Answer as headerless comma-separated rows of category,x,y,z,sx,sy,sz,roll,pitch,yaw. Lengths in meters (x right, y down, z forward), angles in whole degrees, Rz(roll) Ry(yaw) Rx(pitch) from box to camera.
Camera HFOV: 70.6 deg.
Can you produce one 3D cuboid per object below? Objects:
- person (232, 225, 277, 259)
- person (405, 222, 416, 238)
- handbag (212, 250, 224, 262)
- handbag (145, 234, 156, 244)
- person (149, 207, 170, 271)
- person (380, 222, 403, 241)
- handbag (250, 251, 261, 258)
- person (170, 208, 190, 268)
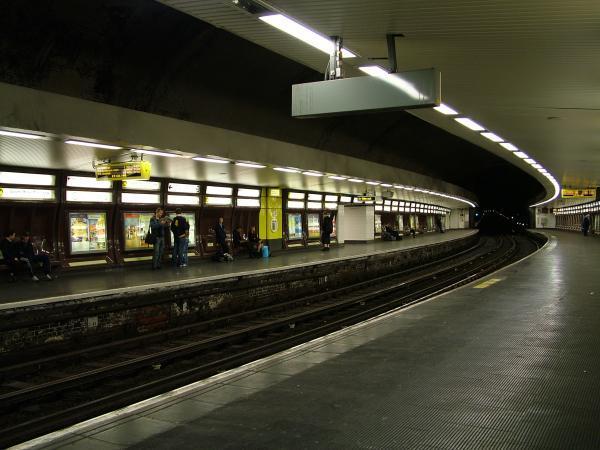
person,-1.981,0.632,17.343,1.188,1.214,1.685,1,2,15
person,10.138,0.490,39.074,0.720,0.905,2.382,-1,-1,17
handbag,-2.897,1.090,15.273,0.306,0.353,0.479,2,3,29
handbag,-4.385,0.400,12.542,0.283,0.257,0.157,5,9,23
person,-4.289,0.369,12.970,0.459,1.779,1.090,0,2,-15
person,7.040,0.551,31.632,2.713,1.079,0.866,0,2,-19
handbag,-1.795,1.182,16.934,0.384,0.194,0.255,2,-7,-7
person,-3.722,0.383,13.317,0.537,1.762,0.600,2,2,24
